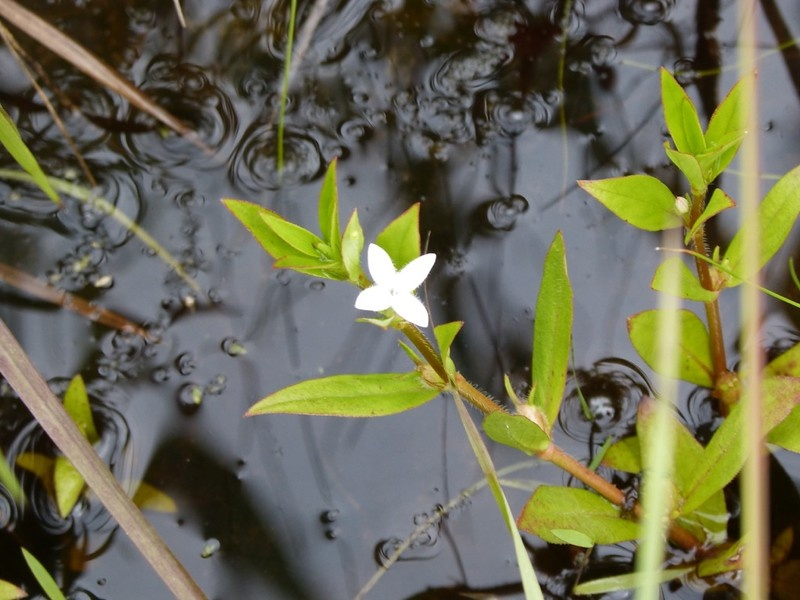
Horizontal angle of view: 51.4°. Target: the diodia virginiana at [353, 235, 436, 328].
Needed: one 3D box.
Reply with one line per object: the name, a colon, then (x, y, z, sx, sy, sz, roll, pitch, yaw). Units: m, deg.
diodia virginiana: (-0.009, -0.031, 1.693, 0.146, 0.114, 0.128, 5, 42, 4)
